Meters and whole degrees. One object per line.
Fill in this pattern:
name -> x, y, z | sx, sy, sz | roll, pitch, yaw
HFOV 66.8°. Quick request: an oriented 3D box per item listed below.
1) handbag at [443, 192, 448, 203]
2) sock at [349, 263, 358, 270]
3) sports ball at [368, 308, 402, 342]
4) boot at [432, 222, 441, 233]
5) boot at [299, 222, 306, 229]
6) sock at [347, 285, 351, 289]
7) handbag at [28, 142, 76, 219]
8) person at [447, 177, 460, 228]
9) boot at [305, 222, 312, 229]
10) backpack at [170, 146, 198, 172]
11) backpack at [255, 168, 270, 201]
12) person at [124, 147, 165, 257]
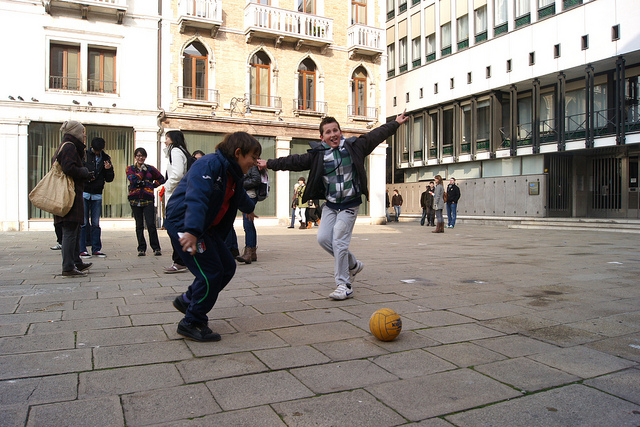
handbag -> 5.633, -0.741, 22.081 | 0.205, 0.602, 0.434 | 5, -2, 6
sock -> 0.529, 0.816, 7.480 | 0.046, 0.104, 0.035 | 26, 0, -1
sports ball -> 0.729, 1.254, 5.509 | 0.344, 0.352, 0.357 | -2, 26, 1
boot -> 4.532, 0.527, 19.050 | 0.277, 0.440, 0.773 | 1, 8, 8
boot -> -0.806, 0.551, 21.864 | 0.244, 0.245, 0.487 | 0, 8, -5
sock -> 0.435, 1.085, 7.224 | 0.031, 0.062, 0.087 | 5, 9, 31
handbag -> -4.413, -0.642, 8.217 | 0.678, 1.254, 0.568 | 5, 5, -28
person -> 5.840, -0.431, 21.606 | 0.478, 2.262, 1.363 | 2, 7, 15
boot -> -0.477, 0.538, 22.857 | 0.382, 0.379, 0.203 | -6, 10, -43
backpack -> -2.700, -1.129, 9.648 | 0.483, 0.419, 0.454 | -2, 8, -16
backpack -> -1.124, -0.556, 9.469 | 0.257, 0.617, 0.578 | -1, 7, -11
person -> -3.889, -0.252, 10.926 | 0.776, 2.424, 0.695 | -1, 7, -6
